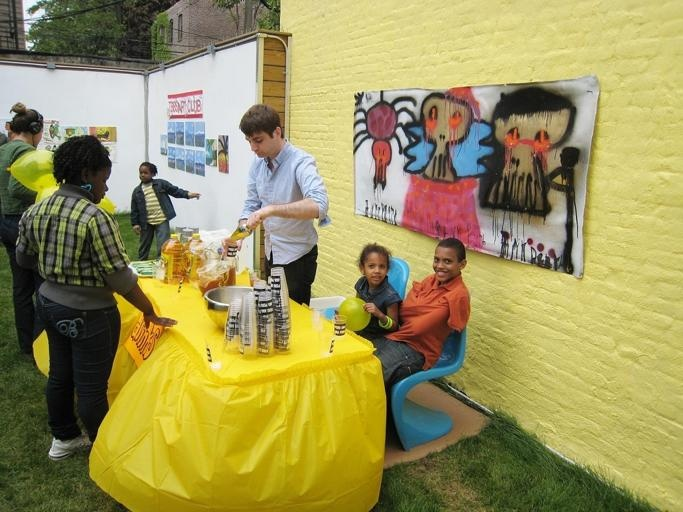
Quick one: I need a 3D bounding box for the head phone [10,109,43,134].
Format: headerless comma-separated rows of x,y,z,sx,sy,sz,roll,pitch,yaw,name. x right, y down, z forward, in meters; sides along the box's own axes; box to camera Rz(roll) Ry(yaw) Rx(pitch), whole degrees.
-3.135,-1.335,4.690,0.258,0.153,0.285,19,8,-29,head phone

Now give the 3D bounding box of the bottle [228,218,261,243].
-0.932,-0.228,4.590,0.152,0.129,0.510,-31,-1,-39,bottle

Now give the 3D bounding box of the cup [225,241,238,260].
-0.830,-0.031,3.586,0.092,0.101,0.098,2,2,0,cup

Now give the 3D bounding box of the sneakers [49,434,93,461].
-1.927,1.372,3.387,0.124,0.164,0.333,0,-3,39,sneakers

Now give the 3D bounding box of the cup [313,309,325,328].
-0.154,0.431,3.140,0.086,0.121,0.094,1,-1,0,cup

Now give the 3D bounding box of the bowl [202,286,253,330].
-0.772,0.332,3.033,0.285,0.194,0.298,4,11,-1,bowl

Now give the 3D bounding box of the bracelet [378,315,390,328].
0.329,0.502,3.553,0.073,0.056,0.081,-20,31,7,bracelet

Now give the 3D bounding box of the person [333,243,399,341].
0.230,0.303,3.893,0.515,0.794,0.542,15,24,36,person

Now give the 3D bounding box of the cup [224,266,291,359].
-0.441,0.325,2.845,0.380,0.579,0.444,-5,7,-42,cup

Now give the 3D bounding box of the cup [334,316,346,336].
-0.011,0.455,2.985,0.083,0.099,0.092,0,-2,5,cup
